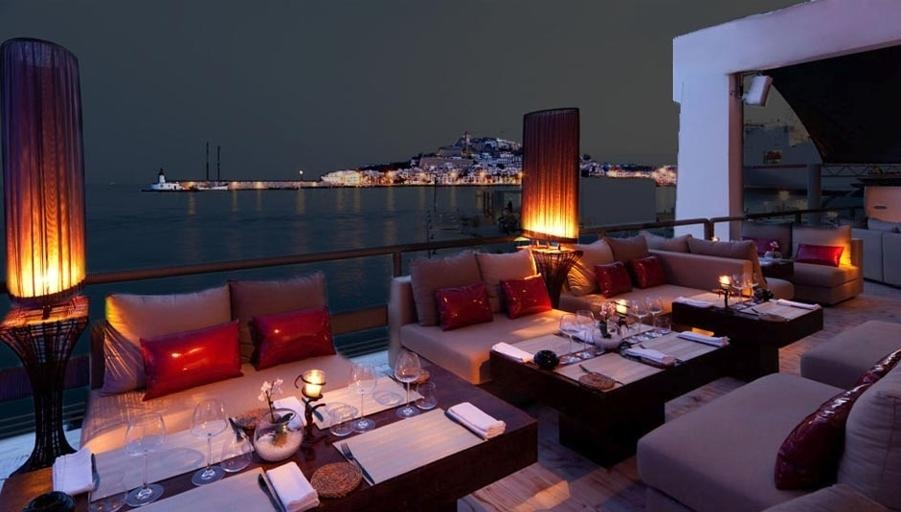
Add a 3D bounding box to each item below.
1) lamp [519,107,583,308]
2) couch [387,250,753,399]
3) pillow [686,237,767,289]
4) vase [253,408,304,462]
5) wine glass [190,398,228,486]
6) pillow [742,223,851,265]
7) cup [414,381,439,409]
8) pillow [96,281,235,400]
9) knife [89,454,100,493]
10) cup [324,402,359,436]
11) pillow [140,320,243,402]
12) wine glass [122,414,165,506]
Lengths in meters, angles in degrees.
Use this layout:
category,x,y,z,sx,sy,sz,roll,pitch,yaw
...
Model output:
category,x,y,z,sx,sy,sz,roll,pitch,yaw
lamp,1.185,-0.797,6.886,0.671,1.960,0.230,-4,32,4
couch,1.351,0.513,6.657,3.418,1.196,1.487,-6,-2,-29
pillow,3.584,0.120,7.562,0.825,0.700,0.423,4,9,42
vase,-1.296,1.321,4.379,0.378,0.287,0.367,1,0,-34
wine glass,-1.778,1.343,4.214,0.246,0.563,0.286,-4,10,3
pillow,5.419,-0.325,8.769,0.730,0.687,1.677,-14,11,-33
cup,-0.200,1.128,4.655,0.189,0.175,0.187,1,-4,0
pillow,-2.724,0.808,5.550,0.518,0.998,1.421,-10,-3,27
knife,-2.595,1.585,4.154,0.052,0.035,0.249,-10,35,-27
cup,-0.869,1.272,4.479,0.237,0.211,0.228,0,-5,0
pillow,-2.334,0.944,5.060,0.641,0.410,0.215,-12,-29,-18
wine glass,-2.226,1.453,4.154,0.305,0.580,0.341,-8,11,-21
